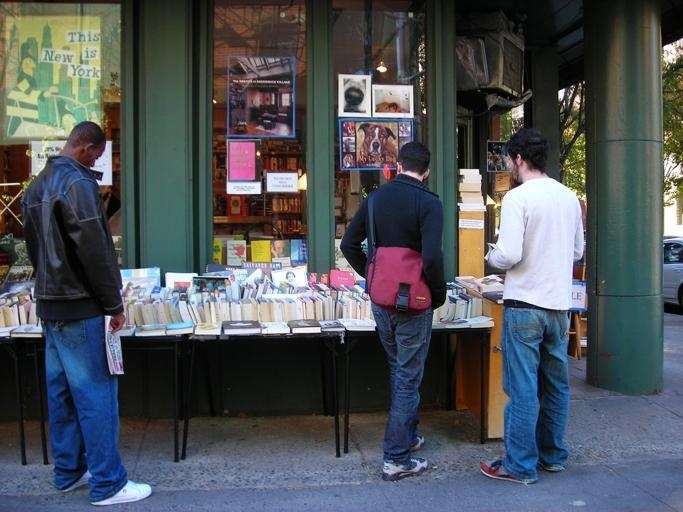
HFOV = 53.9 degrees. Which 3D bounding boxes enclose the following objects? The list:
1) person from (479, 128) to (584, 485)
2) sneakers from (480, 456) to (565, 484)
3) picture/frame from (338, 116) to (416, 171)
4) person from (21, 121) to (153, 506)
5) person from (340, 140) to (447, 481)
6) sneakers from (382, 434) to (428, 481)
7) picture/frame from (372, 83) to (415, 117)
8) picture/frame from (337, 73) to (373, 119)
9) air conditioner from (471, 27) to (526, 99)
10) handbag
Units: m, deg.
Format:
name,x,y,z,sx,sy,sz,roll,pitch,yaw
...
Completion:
name,x,y,z,sx,sy,sz,roll,pitch,yaw
person,1.495,0.351,5.222,0.842,2.510,0.776,1,1,28
sneakers,1.370,1.616,5.075,0.595,0.270,0.229,3,-1,23
picture/frame,0.294,-1.055,6.229,0.592,0.411,0.062,-1,2,-7
person,-1.855,0.351,4.907,1.006,2.513,1.112,4,10,-25
person,0.460,0.387,5.142,0.721,2.460,0.768,-5,8,-32
sneakers,0.511,1.540,5.147,0.428,0.213,0.154,-14,14,-41
picture/frame,0.489,-1.512,6.417,0.286,0.240,0.013,0,4,1
picture/frame,0.112,-1.528,6.355,0.392,0.503,0.019,-1,2,-8
air conditioner,1.991,-2.343,8.212,0.444,0.754,0.607,4,9,-2
handbag,0.427,0.156,4.896,0.424,0.433,0.184,3,12,14
